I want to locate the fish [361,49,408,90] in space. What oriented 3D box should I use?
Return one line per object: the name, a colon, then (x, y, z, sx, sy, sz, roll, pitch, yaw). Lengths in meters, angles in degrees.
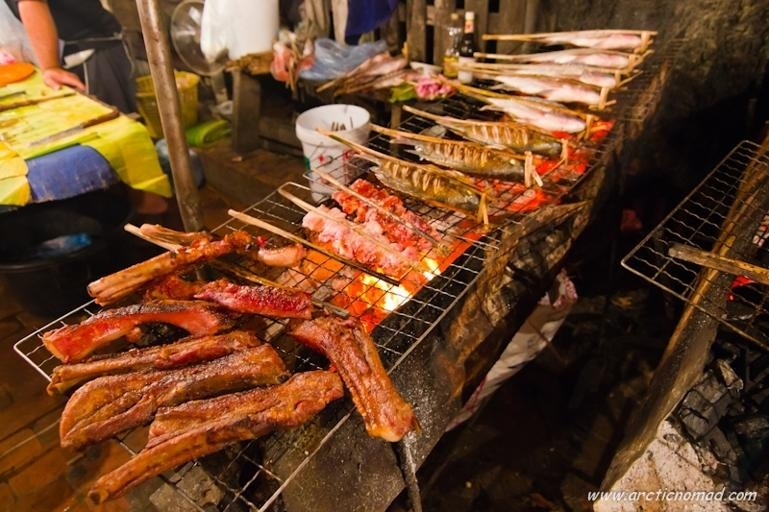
fish: (0.018, -2.442, 7.335, 0.499, 0.153, 0.497, -36, 58, -5)
